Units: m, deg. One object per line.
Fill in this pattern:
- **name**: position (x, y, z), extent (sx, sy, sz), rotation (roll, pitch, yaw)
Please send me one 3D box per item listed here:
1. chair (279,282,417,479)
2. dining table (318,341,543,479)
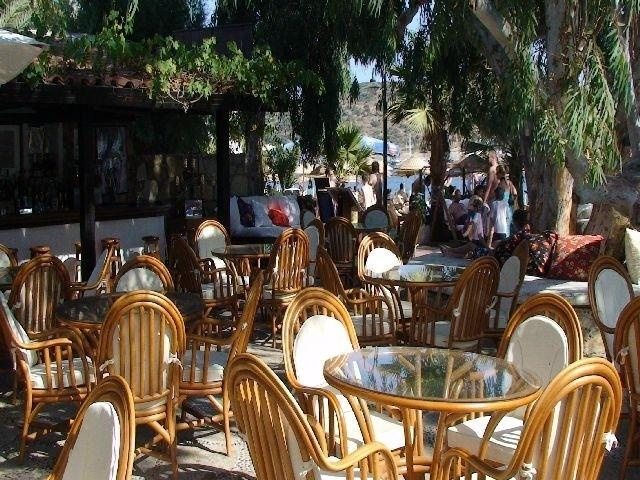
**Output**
- **chair**: position (0.047, 0.745, 3.471), extent (0.674, 1.400, 0.782), rotation (-4, 3, -40)
- **dining table**: position (0.588, 0.750, 3.129), extent (0.670, 0.626, 0.741), rotation (4, -5, 25)
